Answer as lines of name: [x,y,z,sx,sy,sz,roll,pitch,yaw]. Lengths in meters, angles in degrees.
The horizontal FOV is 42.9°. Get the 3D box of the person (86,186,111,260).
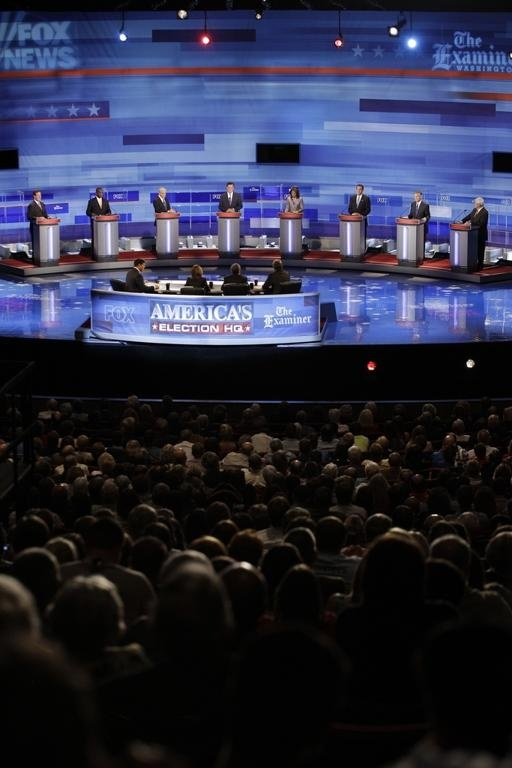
person: [-3.768,-3.887,15.583,0.517,1.677,1.034,-1,6,-14]

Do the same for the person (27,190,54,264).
person: [-4.990,-3.594,14.937,0.403,1.630,0.823,-1,6,-23]

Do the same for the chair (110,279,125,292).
chair: [-2.273,-1.625,10.786,0.215,0.187,0.463,0,6,-13]

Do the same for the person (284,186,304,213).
person: [0.979,-4.567,16.257,0.366,0.843,1.046,1,6,5]

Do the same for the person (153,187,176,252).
person: [-2.200,-3.891,16.044,0.577,1.556,0.691,0,5,-8]

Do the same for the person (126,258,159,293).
person: [-1.830,-1.739,10.625,0.452,0.540,0.710,4,7,32]

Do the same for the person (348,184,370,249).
person: [2.467,-4.036,15.586,0.482,1.424,0.992,1,6,7]

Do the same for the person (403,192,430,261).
person: [3.773,-3.680,15.036,0.451,1.509,1.265,2,6,14]

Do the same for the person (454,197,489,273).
person: [4.783,-3.251,14.209,0.522,1.600,1.569,3,6,18]
